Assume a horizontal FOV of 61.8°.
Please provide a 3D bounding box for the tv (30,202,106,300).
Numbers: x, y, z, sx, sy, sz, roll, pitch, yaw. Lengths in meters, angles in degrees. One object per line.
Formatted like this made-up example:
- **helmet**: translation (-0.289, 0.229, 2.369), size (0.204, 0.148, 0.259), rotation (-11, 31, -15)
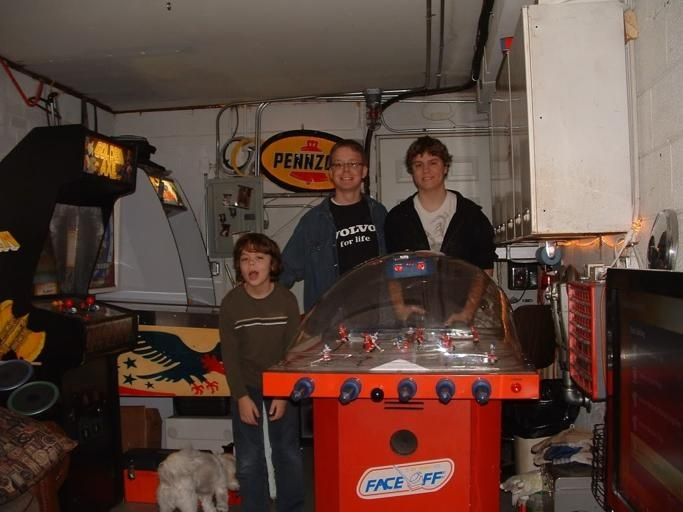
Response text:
- **tv**: translation (-1.888, -0.058, 3.874), size (0.331, 0.636, 0.626), rotation (9, 10, -12)

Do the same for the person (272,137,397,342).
- **person**: translation (0.005, -0.174, 3.519), size (1.107, 1.059, 0.333), rotation (-3, 9, -9)

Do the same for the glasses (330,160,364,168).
- **glasses**: translation (0.031, -0.525, 3.336), size (0.184, 0.046, 0.068), rotation (0, 1, 3)
